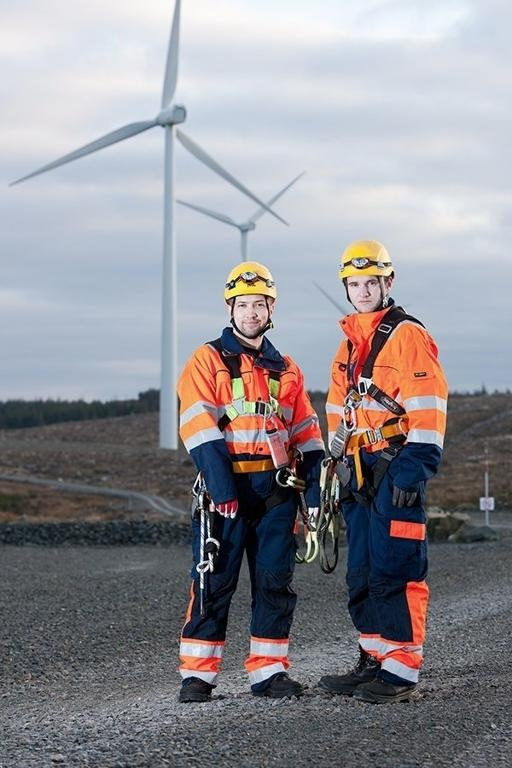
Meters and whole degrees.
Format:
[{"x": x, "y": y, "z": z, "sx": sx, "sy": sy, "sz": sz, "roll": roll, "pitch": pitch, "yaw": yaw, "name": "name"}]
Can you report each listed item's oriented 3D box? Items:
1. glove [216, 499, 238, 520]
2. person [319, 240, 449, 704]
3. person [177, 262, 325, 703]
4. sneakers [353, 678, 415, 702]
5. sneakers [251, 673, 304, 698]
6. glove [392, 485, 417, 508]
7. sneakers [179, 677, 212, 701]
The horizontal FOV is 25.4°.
[{"x": -0.169, "y": 0.737, "z": 6.696, "sx": 0.129, "sy": 0.110, "sz": 0.062, "roll": -1, "pitch": -1, "yaw": 38, "name": "glove"}, {"x": 0.738, "y": 0.479, "z": 6.901, "sx": 0.637, "sy": 2.754, "sz": 0.802, "roll": -1, "pitch": -1, "yaw": -26, "name": "person"}, {"x": -0.041, "y": 0.572, "z": 6.929, "sx": 0.921, "sy": 2.665, "sz": 0.571, "roll": -1, "pitch": -1, "yaw": -6, "name": "person"}, {"x": 0.751, "y": 1.804, "z": 6.614, "sx": 0.329, "sy": 0.133, "sz": 0.126, "roll": -4, "pitch": 10, "yaw": -1, "name": "sneakers"}, {"x": 0.139, "y": 1.791, "z": 6.699, "sx": 0.240, "sy": 0.139, "sz": 0.345, "roll": -1, "pitch": -1, "yaw": -20, "name": "sneakers"}, {"x": 0.865, "y": 0.657, "z": 6.658, "sx": 0.110, "sy": 0.125, "sz": 0.062, "roll": 13, "pitch": 0, "yaw": -1, "name": "glove"}, {"x": -0.362, "y": 1.814, "z": 6.739, "sx": 0.202, "sy": 0.138, "sz": 0.250, "roll": -1, "pitch": -1, "yaw": -3, "name": "sneakers"}]
